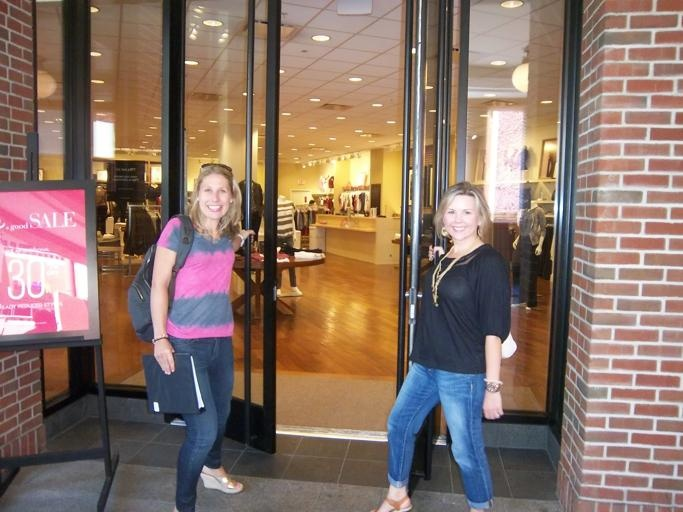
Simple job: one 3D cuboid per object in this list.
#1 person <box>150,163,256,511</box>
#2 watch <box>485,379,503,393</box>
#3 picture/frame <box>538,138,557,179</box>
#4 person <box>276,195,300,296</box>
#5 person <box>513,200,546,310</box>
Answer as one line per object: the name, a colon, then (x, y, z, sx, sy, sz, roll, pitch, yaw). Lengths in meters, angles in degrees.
person: (-0.775, 0.467, 3.023, 0.363, 1.916, 0.627, 4, 10, 19)
watch: (0.754, 0.664, 2.733, 0.069, 0.053, 0.074, -3, -5, 27)
picture/frame: (1.419, -0.652, 3.739, 0.016, 0.274, 0.155, -8, 12, -26)
person: (-0.555, -0.096, 5.178, 0.265, 0.934, 0.191, 0, 2, -8)
person: (1.303, 0.008, 3.804, 0.191, 0.711, 0.095, 4, 10, 17)
